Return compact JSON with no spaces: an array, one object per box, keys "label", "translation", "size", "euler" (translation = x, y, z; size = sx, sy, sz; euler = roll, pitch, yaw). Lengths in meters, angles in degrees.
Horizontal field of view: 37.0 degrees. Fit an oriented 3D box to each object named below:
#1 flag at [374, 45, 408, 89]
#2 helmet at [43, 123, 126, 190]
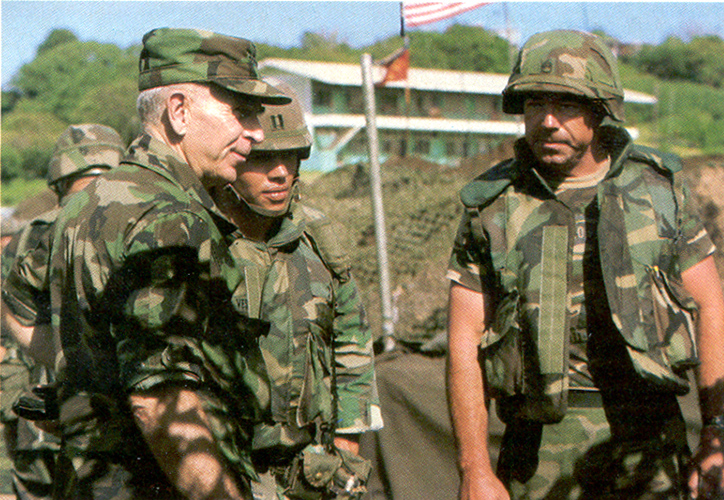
[{"label":"flag","translation":[0.150,-0.848,5.001],"size":[0.149,0.168,0.065],"euler":[-1,-3,-4]},{"label":"helmet","translation":[-1.399,-0.516,5.586],"size":[0.405,0.298,0.287],"euler":[-6,-18,-43]}]
